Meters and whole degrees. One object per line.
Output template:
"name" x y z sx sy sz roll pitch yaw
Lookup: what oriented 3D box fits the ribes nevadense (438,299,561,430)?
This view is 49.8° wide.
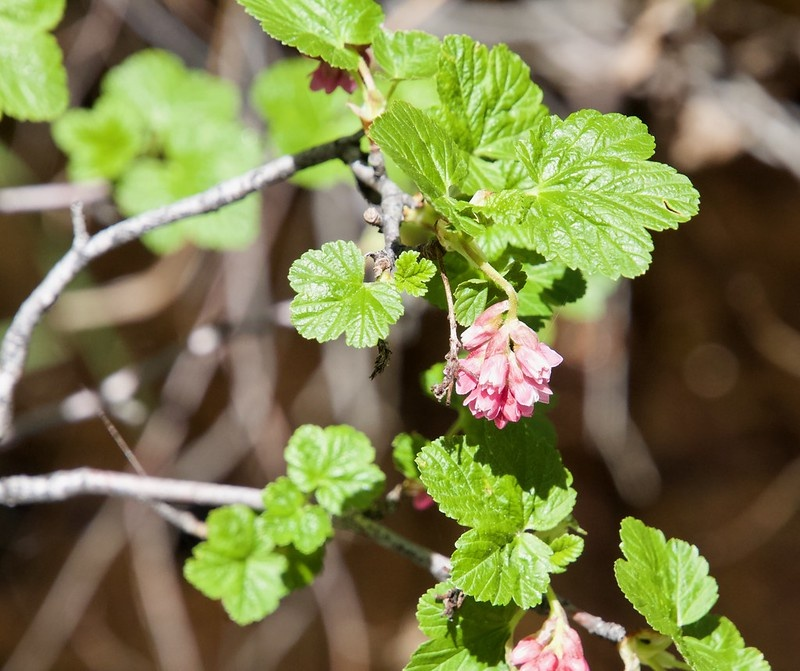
"ribes nevadense" 0.265 0.081 2.222 0.255 0.332 0.211 -11 -23 21
